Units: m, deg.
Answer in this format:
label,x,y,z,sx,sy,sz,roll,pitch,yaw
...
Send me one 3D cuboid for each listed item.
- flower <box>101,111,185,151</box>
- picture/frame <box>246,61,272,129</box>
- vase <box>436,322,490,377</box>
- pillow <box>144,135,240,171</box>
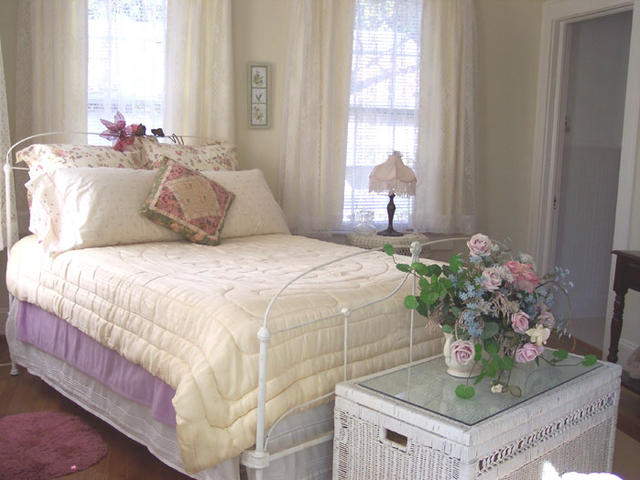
label,x,y,z,sx,sy,sz,roll,pitch,yaw
flower,-1.274,-0.731,3.582,0.437,0.279,0.108,8,0,-14
picture/frame,-0.482,-1.159,4.094,0.176,0.491,0.045,-3,12,-23
vase,0.553,0.430,1.979,0.182,0.172,0.197,3,-3,-6
pillow,-0.897,-0.593,3.540,0.382,0.117,0.325,5,31,-42
